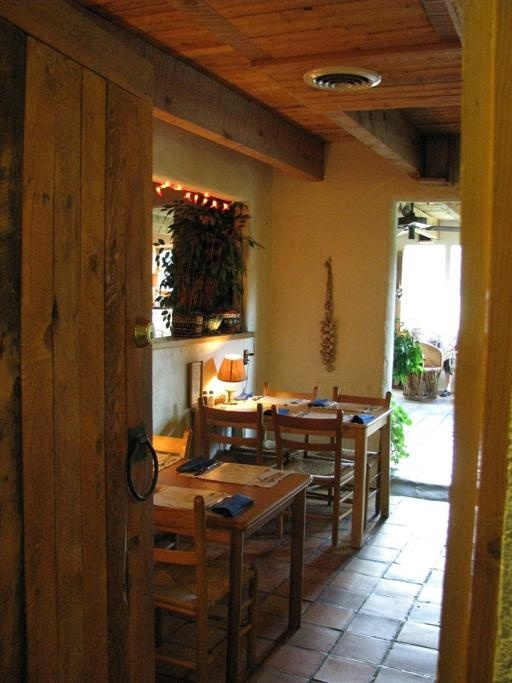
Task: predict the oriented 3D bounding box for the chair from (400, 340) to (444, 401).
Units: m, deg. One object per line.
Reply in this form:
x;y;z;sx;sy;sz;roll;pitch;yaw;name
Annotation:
2.755;0.477;10.006;0.720;0.981;0.596;-5;-7;42;chair

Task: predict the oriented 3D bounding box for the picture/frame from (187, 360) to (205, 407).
-0.449;0.300;4.301;0.056;0.409;0.302;3;6;21;picture/frame

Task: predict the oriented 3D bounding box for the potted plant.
-0.344;-0.619;4.864;0.795;1.170;1.164;7;9;35;potted plant

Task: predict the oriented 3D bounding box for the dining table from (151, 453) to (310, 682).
-0.188;0.950;2.674;0.781;0.742;0.751;2;4;30;dining table
